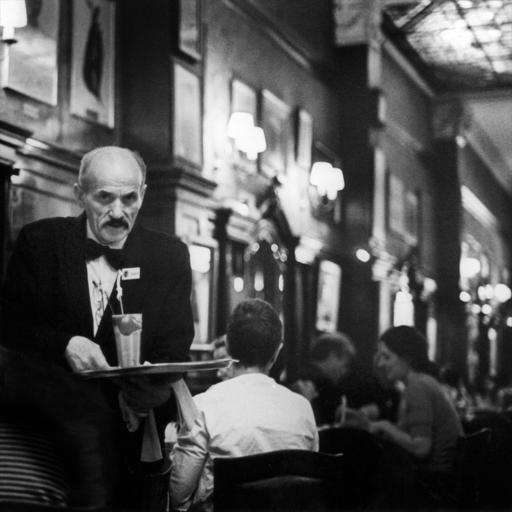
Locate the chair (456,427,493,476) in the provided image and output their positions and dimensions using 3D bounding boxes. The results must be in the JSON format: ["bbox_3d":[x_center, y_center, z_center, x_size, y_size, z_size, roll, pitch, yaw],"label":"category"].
[{"bbox_3d":[0.780,0.705,2.980,0.124,0.162,0.128,15,-15,-38],"label":"chair"}]

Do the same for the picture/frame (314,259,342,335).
[{"bbox_3d":[0.264,0.149,3.059,0.085,0.255,0.037,3,-5,12],"label":"picture/frame"}]

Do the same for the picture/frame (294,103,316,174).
[{"bbox_3d":[0.176,-0.423,3.157,0.074,0.213,0.017,13,-25,-23],"label":"picture/frame"}]

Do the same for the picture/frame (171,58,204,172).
[{"bbox_3d":[-0.271,-0.558,3.279,0.154,0.426,0.033,1,-6,27],"label":"picture/frame"}]

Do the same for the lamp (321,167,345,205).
[{"bbox_3d":[0.288,-0.257,3.096,0.079,0.123,0.026,10,1,33],"label":"lamp"}]

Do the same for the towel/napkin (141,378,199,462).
[{"bbox_3d":[-0.331,0.625,3.111,0.194,0.310,0.144,-5,6,-8],"label":"towel/napkin"}]

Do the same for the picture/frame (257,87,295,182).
[{"bbox_3d":[0.068,-0.450,3.191,0.125,0.258,0.015,19,28,33],"label":"picture/frame"}]

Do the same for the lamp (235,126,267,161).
[{"bbox_3d":[-0.017,-0.433,3.201,0.108,0.135,0.028,-1,-4,11],"label":"lamp"}]
